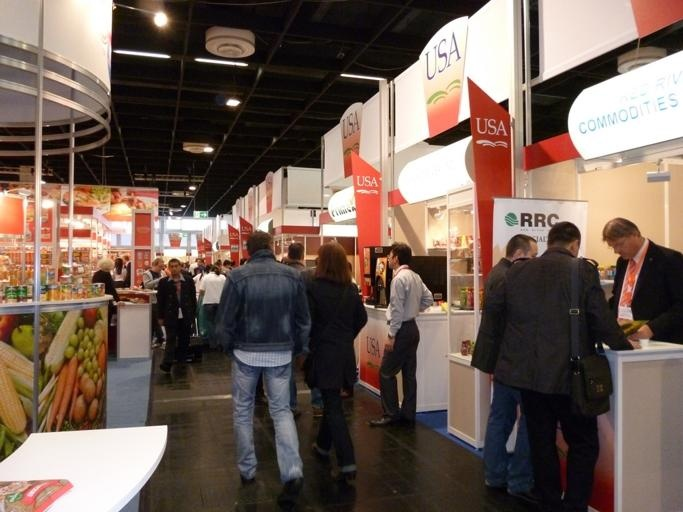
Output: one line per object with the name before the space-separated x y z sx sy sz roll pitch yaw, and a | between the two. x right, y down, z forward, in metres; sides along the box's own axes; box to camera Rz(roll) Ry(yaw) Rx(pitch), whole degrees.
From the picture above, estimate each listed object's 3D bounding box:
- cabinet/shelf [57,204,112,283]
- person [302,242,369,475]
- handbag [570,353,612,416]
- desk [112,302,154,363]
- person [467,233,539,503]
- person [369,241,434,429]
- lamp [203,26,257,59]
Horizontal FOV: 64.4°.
cabinet/shelf | -4.908 -0.290 10.304 0.595 1.520 1.718 -1 -1 -11
person | -0.113 0.779 4.373 0.501 1.766 0.538 1 -2 -17
handbag | 1.593 0.815 3.421 0.329 0.293 0.134 -2 1 -21
desk | -3.227 1.152 8.406 0.478 0.776 0.912 3 3 -16
person | 1.317 0.771 4.079 0.516 1.871 0.606 -3 6 -7
person | 0.511 0.778 5.421 0.459 1.732 0.548 5 6 -22
lamp | -1.626 -3.011 7.744 0.696 0.389 0.629 9 2 44
